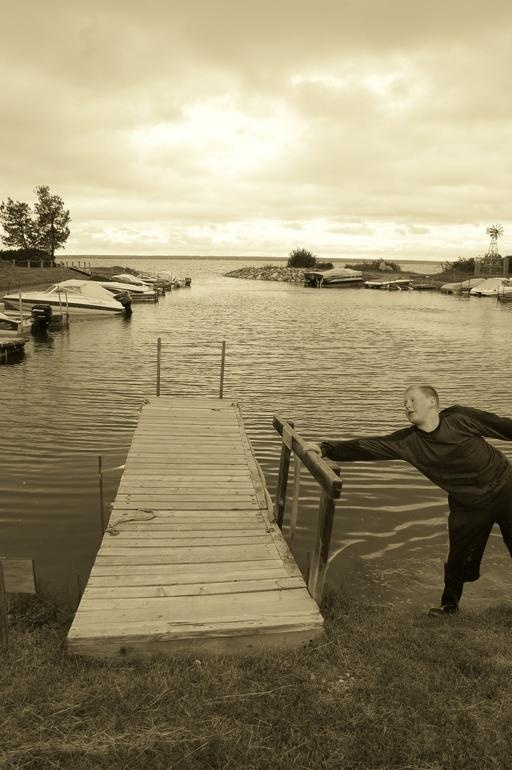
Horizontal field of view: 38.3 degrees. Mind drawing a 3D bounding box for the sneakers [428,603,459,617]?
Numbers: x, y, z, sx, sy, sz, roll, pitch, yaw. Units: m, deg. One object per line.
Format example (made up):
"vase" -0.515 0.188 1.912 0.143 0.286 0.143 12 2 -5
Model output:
"sneakers" 1.431 1.720 5.681 0.272 0.094 0.086 1 -7 1
